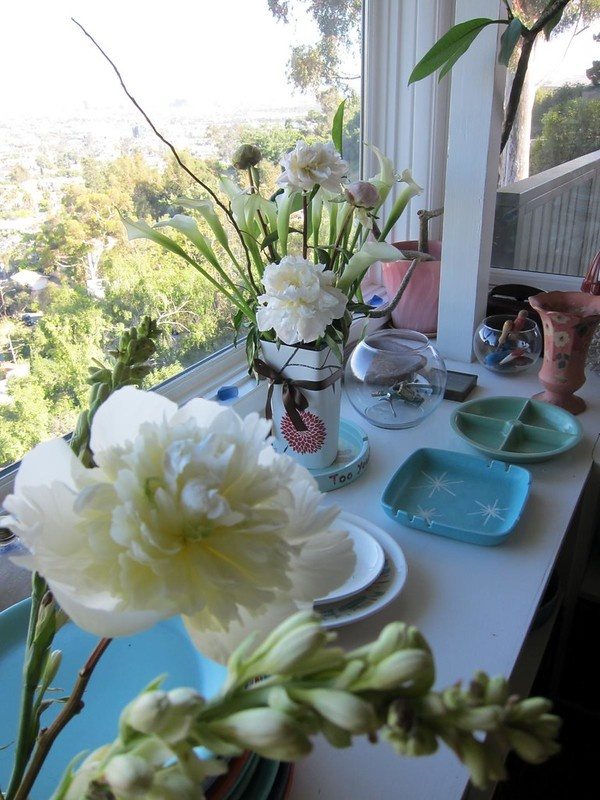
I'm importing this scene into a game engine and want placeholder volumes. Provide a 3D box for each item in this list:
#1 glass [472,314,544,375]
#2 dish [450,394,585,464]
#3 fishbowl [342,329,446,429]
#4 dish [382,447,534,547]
[{"bbox_3d":[0.446,-0.120,1.293,0.132,0.124,0.130,-10,23,-29],"label":"glass"},{"bbox_3d":[0.394,0.041,1.047,0.144,0.028,0.142,10,33,19],"label":"dish"},{"bbox_3d":[0.189,-0.032,1.051,0.189,0.145,0.197,-2,7,-28],"label":"fishbowl"},{"bbox_3d":[0.247,0.149,0.895,0.154,0.036,0.148,9,31,25],"label":"dish"}]
